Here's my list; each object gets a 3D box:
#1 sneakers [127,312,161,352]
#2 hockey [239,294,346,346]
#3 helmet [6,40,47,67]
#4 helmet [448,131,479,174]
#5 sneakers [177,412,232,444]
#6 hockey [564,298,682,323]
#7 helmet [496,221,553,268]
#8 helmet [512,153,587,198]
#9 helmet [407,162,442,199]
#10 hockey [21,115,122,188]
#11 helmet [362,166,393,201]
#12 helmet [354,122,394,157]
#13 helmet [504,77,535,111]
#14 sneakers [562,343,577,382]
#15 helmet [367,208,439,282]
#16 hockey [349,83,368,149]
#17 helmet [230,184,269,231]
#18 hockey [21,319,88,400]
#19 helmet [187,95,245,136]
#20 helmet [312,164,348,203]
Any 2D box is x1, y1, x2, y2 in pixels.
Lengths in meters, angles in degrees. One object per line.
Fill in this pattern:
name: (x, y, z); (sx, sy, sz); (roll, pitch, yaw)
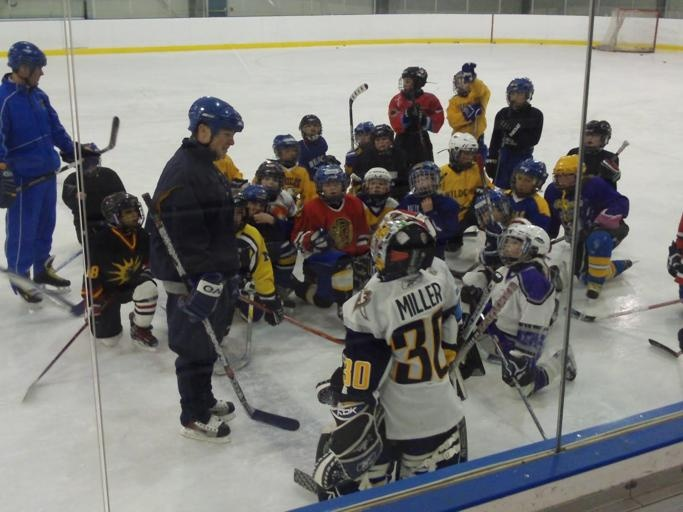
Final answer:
sneakers: (-0.630, 0.235, 2.288); (0.152, 0.101, 0.058); (24, 31, 25)
hockey: (-0.172, 0.222, 2.397); (0.331, 0.025, 0.034); (26, 9, -11)
helmet: (-1.029, -0.655, 2.338); (0.147, 0.088, 0.096); (-3, 53, -22)
helmet: (0.449, -0.385, 2.640); (0.139, 0.134, 0.108); (15, 36, 35)
sneakers: (-0.424, 0.533, 2.223); (0.158, 0.071, 0.068); (1, 26, -3)
hockey: (1.190, 0.235, 3.050); (0.591, 0.048, 0.076); (8, 24, -46)
helmet: (0.649, -0.045, 2.638); (0.173, 0.163, 0.150); (16, 8, -21)
helmet: (0.747, -0.286, 2.553); (0.174, 0.135, 0.121); (2, 13, -16)
helmet: (0.338, -0.284, 2.712); (0.104, 0.117, 0.135); (-7, -10, 32)
hockey: (-0.863, -0.345, 2.294); (0.372, 0.028, 0.101); (-39, 17, -8)
helmet: (0.142, -0.293, 2.814); (0.093, 0.092, 0.119); (-1, -3, 2)
helmet: (0.120, -0.440, 2.714); (0.110, 0.096, 0.116); (-1, 12, 22)
helmet: (0.647, -0.590, 2.611); (0.098, 0.105, 0.109); (-1, 30, 14)
sneakers: (0.833, 0.385, 2.603); (0.048, 0.134, 0.061); (2, -6, 31)
helmet: (0.194, -0.050, 2.341); (0.244, 0.225, 0.189); (-10, 17, -18)
hockey: (0.059, -0.517, 2.587); (0.088, 0.218, 0.052); (-4, 57, 3)
helmet: (-0.330, -0.177, 2.497); (0.128, 0.158, 0.165); (0, -4, 22)
hockey: (-0.972, 0.361, 2.444); (0.042, 0.375, 0.041); (45, 1, 3)
helmet: (-0.401, -0.443, 2.302); (0.140, 0.087, 0.098); (19, 29, -22)
helmet: (-0.042, -0.287, 2.846); (0.105, 0.122, 0.124); (-8, 30, -4)
